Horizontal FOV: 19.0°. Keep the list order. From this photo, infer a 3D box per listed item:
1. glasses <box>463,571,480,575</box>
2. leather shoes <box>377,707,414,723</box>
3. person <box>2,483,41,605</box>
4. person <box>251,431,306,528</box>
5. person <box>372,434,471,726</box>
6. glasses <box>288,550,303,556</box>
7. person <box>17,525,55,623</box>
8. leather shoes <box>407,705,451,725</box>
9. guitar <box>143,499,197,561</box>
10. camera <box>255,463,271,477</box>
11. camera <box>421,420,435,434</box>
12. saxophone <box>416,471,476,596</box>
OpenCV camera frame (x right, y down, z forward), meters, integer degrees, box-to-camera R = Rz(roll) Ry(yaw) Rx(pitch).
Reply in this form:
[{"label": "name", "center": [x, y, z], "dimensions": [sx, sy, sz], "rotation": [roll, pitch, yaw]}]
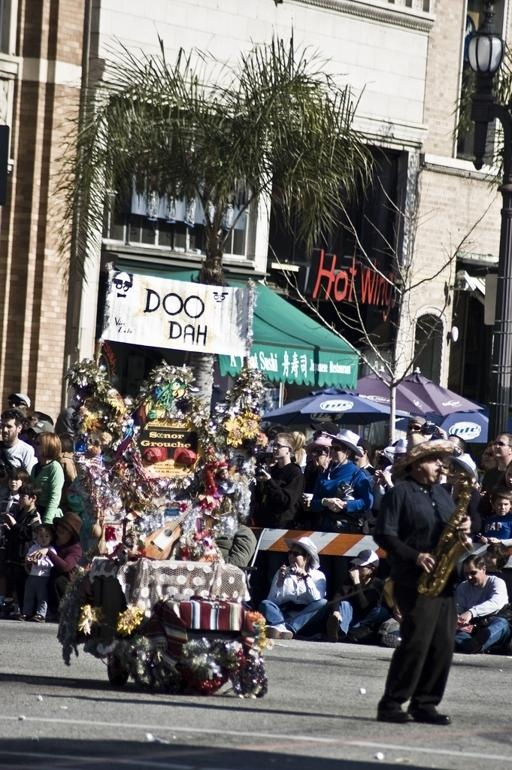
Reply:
[{"label": "glasses", "center": [1.749, 1.512, 12.427], "dimensions": [0.070, 0.026, 0.058], "rotation": [-1, -2, 41]}, {"label": "leather shoes", "center": [0.788, 1.865, 8.664], "dimensions": [0.184, 0.088, 0.080], "rotation": [-3, 1, 10]}, {"label": "person", "center": [-2.032, 1.386, 13.309], "dimensions": [0.412, 0.961, 0.370], "rotation": [-7, 3, 33]}, {"label": "person", "center": [0.191, 0.845, 13.429], "dimensions": [0.359, 0.878, 0.401], "rotation": [-5, 4, -36]}, {"label": "person", "center": [1.009, 1.138, 8.858], "dimensions": [0.638, 1.598, 0.607], "rotation": [-1, -3, 26]}, {"label": "glasses", "center": [0.345, 1.412, 12.945], "dimensions": [0.055, 0.038, 0.075], "rotation": [18, 5, 43]}, {"label": "person", "center": [-1.857, 1.585, 12.974], "dimensions": [0.241, 0.775, 0.287], "rotation": [0, 4, -32]}, {"label": "leather shoes", "center": [0.981, 1.873, 8.737], "dimensions": [0.256, 0.113, 0.087], "rotation": [0, 7, 11]}, {"label": "guitar", "center": [-0.559, 0.923, 9.742], "dimensions": [0.211, 0.066, 0.529], "rotation": [30, 46, 18]}, {"label": "camera", "center": [0.054, 0.723, 13.169], "dimensions": [0.062, 0.109, 0.109], "rotation": [5, 1, 14]}, {"label": "camera", "center": [1.564, 0.377, 13.909], "dimensions": [0.113, 0.112, 0.196], "rotation": [6, -4, 4]}, {"label": "saxophone", "center": [1.099, 0.862, 8.753], "dimensions": [0.344, 0.727, 0.182], "rotation": [14, -1, 34]}]
